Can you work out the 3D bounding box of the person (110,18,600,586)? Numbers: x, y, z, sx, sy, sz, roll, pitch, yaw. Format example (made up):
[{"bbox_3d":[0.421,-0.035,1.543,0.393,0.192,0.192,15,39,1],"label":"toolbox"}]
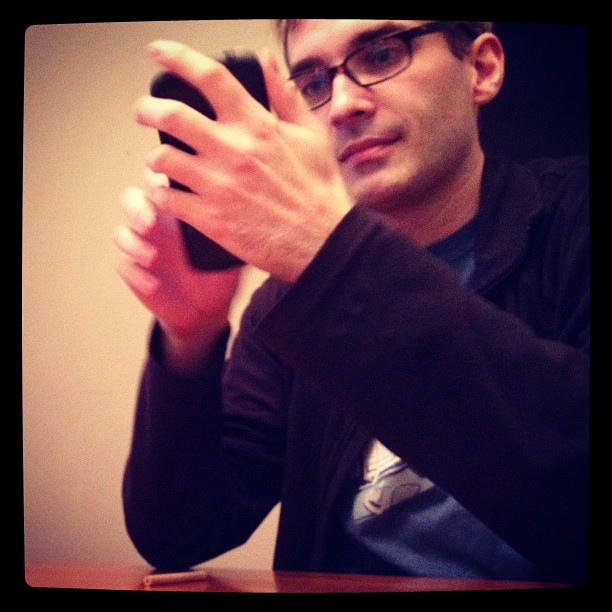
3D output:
[{"bbox_3d":[0.126,-0.022,1.797,1.200,1.269,0.524,5,22,1],"label":"person"}]
